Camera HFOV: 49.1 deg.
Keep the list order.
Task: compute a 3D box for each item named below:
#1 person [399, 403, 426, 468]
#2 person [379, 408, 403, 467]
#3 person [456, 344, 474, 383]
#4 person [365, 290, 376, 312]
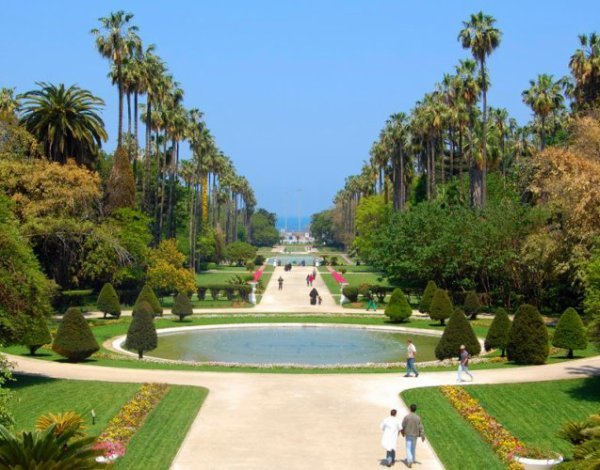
[{"bbox_3d":[3.347,5.890,19.538,0.654,1.677,1.335,-1,-2,9],"label":"person"},{"bbox_3d":[2.664,5.860,19.103,0.568,1.622,0.654,-1,-2,10],"label":"person"},{"bbox_3d":[6.980,5.323,27.816,0.652,1.556,2.623,-1,-3,14],"label":"person"},{"bbox_3d":[6.171,5.804,57.537,0.933,2.237,0.828,-1,-4,2],"label":"person"}]
